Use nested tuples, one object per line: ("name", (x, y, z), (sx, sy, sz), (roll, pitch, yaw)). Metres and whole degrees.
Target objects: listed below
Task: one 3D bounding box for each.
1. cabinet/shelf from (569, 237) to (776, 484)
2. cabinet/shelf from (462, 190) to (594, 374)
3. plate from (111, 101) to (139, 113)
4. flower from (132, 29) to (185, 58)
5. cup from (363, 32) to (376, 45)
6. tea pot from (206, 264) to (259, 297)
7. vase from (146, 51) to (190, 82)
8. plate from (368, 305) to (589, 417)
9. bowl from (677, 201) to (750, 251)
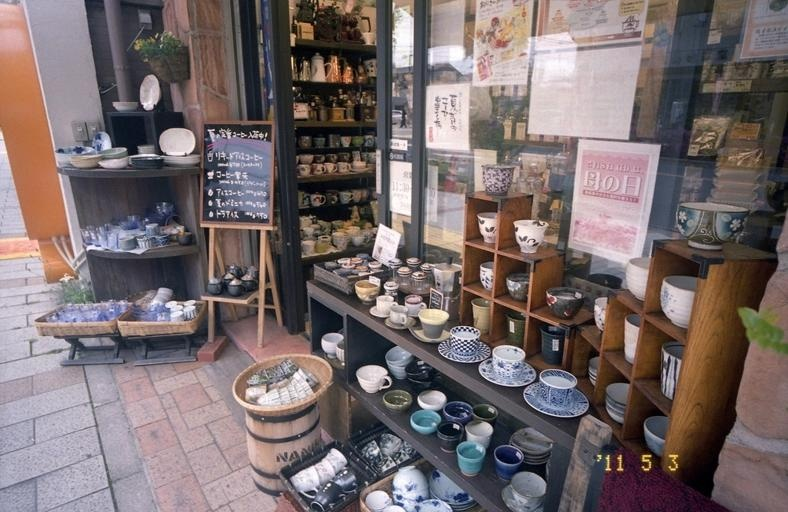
("cabinet/shelf", (1.179, 0.465, 2.058), (0.326, 0.850, 0.954), (-2, 17, -16))
("cabinet/shelf", (0.723, 0.137, 2.599), (0.268, 0.730, 0.815), (-18, 30, -36))
("plate", (-2.489, -1.389, 4.612), (0.262, 0.095, 0.186), (3, 18, 17))
("flower", (-2.047, -1.829, 4.340), (0.405, 0.202, 0.303), (-7, 18, -14))
("cup", (-0.261, -2.273, 5.181), (0.189, 0.142, 0.161), (1, 16, 1))
("tea pot", (-1.427, 0.210, 4.416), (0.285, 0.140, 0.365), (0, 3, 6))
("vase", (-1.988, -1.658, 4.382), (0.271, 0.153, 0.271), (15, 25, 42))
("plate", (0.482, 0.546, 2.580), (0.991, 0.107, 0.311), (23, 36, 37))
("bowl", (1.304, -0.127, 2.069), (0.245, 0.144, 0.228), (0, 13, 0))
